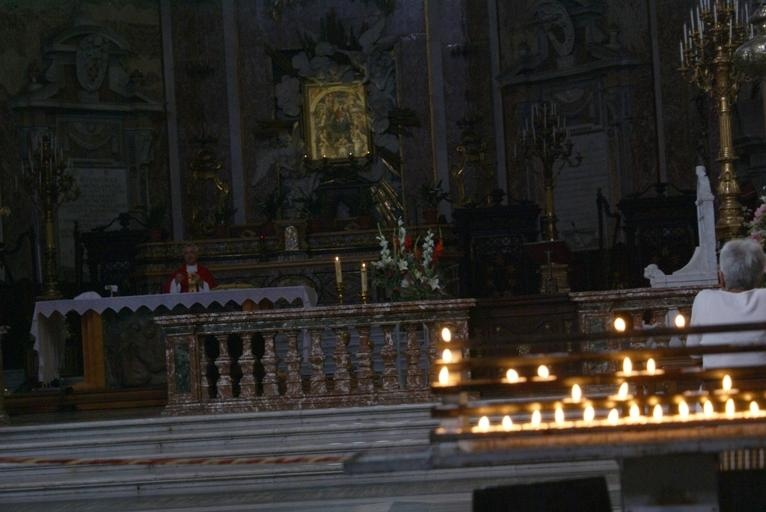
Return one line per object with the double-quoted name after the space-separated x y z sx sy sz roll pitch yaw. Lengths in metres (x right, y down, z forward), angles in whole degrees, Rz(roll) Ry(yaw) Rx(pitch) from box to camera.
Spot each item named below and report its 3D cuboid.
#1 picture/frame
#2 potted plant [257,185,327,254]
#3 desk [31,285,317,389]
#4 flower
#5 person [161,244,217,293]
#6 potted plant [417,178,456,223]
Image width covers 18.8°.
-0.967 -2.786 47.881 1.339 1.623 0.200 -4 -4 -2 "picture/frame"
-1.901 -0.722 46.317 1.180 1.495 2.837 -4 -3 -2 "potted plant"
-3.360 1.265 40.752 4.903 1.329 1.640 -3 0 13 "desk"
0.425 0.065 39.123 1.170 1.367 0.621 -5 -3 0 "flower"
-3.426 0.455 41.086 1.061 1.187 0.656 -1 1 -7 "person"
1.055 -1.074 46.299 0.910 0.888 0.754 6 -10 -31 "potted plant"
